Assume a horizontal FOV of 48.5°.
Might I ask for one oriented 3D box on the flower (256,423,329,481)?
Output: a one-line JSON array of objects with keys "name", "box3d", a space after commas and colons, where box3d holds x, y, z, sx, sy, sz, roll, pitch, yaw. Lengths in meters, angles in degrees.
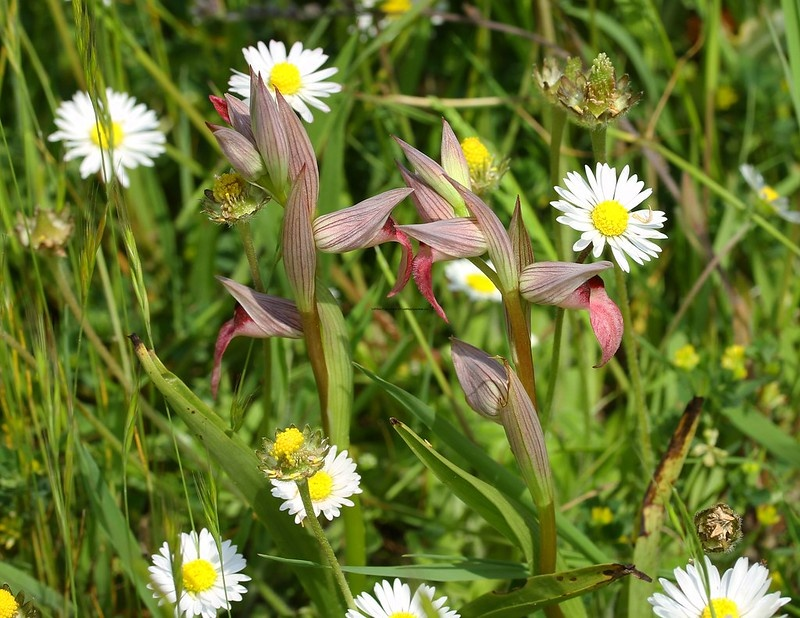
[{"name": "flower", "box3d": [-0.211, 0.282, 1.709, 0.123, 0.095, 0.136, -2, 16, 17]}]
